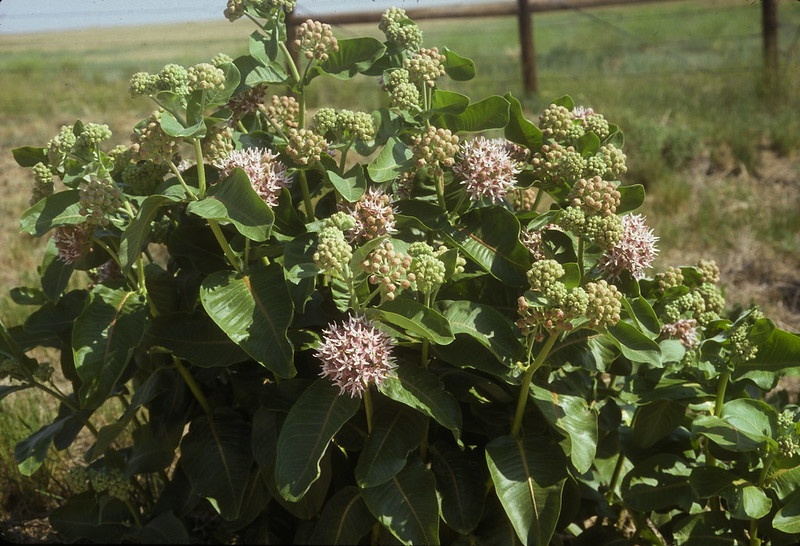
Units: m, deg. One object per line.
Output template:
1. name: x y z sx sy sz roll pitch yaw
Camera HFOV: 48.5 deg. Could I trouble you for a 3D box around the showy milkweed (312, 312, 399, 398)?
1. showy milkweed: -0.242 0.370 4.971 0.348 0.258 0.328 15 2 -3
